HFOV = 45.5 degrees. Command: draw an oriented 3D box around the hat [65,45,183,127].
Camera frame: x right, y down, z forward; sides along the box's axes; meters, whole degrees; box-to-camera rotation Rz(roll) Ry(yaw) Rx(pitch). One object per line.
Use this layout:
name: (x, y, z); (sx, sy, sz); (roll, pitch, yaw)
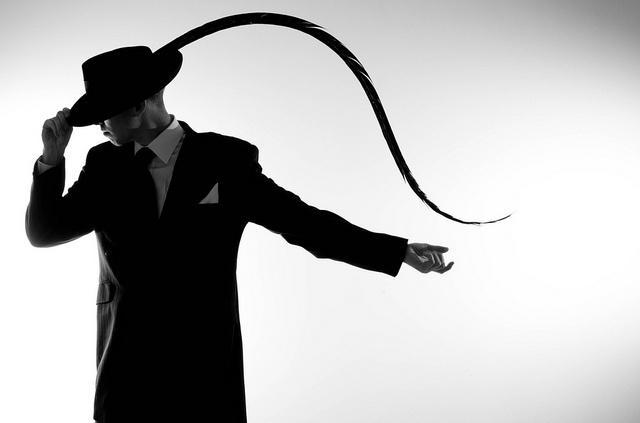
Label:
hat: (-0.680, -0.453, 2.679); (0.325, 0.121, 0.284); (-31, 19, -10)
